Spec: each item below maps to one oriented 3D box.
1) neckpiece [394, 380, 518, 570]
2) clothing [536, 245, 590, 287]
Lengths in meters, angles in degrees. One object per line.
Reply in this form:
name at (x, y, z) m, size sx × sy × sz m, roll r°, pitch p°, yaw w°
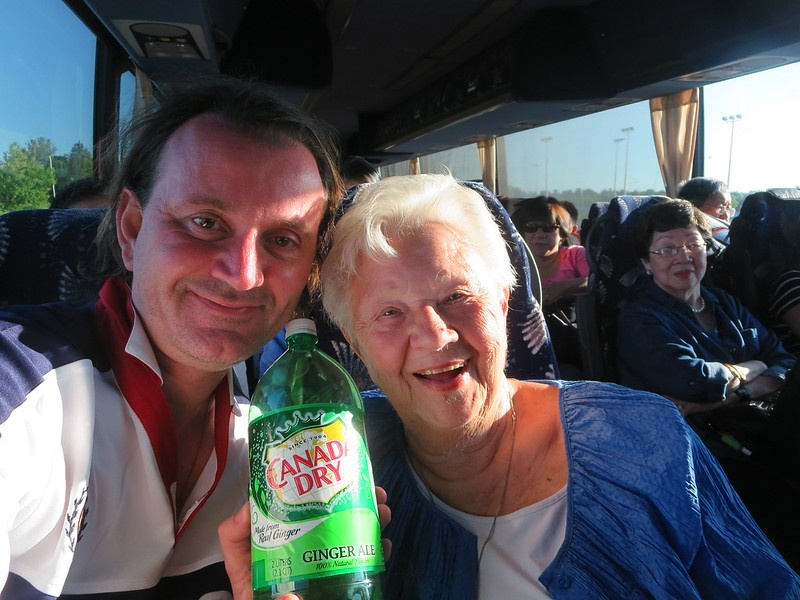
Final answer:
neckpiece at (0.268, 0.552, 1.879) m, size 0.246 × 0.536 × 0.110 m, roll -16°, pitch -23°, yaw 37°
clothing at (1.641, -0.329, 5.945) m, size 0.578 × 0.364 × 0.590 m, roll -2°, pitch 22°, yaw 6°
